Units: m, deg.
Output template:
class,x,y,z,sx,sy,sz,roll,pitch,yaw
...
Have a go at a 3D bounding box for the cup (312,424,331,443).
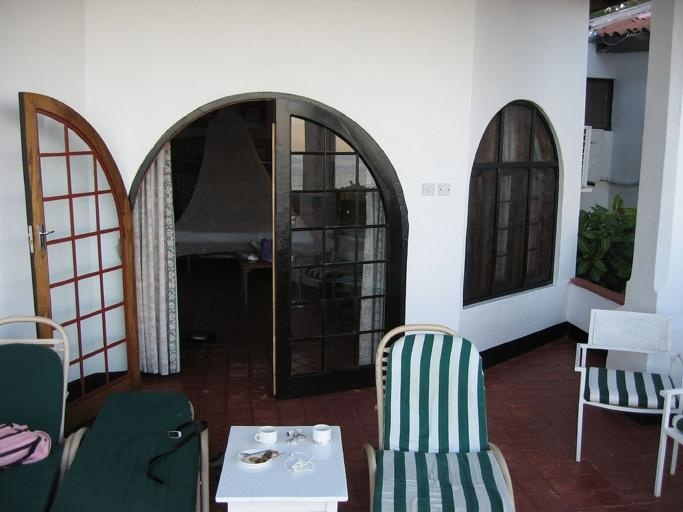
class,x,y,z,sx,sy,sz,roll,pitch,yaw
cup,-0.131,1.080,3.283,0.089,0.056,0.091,2,16,-1
